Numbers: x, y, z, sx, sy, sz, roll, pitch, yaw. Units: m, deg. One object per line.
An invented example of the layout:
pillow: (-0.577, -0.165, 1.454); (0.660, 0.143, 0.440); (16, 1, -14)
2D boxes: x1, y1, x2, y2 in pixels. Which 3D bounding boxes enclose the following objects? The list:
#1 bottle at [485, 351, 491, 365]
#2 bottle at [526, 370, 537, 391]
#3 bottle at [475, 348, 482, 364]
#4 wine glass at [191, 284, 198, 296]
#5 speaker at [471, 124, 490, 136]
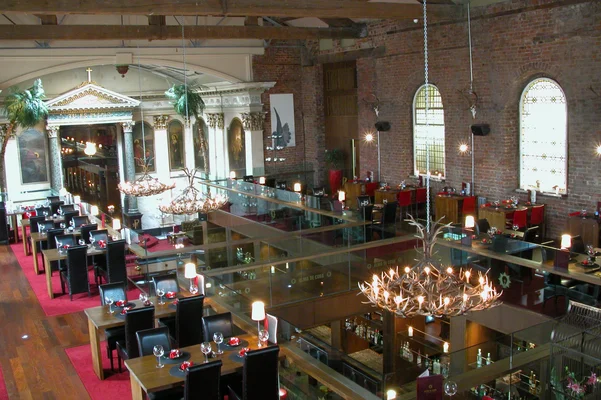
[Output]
bottle: (3.112, 2.605, 7.965); (0.100, 0.225, 0.038); (-7, 9, -29)
bottle: (3.847, 2.987, 7.983); (0.194, 0.326, 0.043); (-8, 9, -32)
bottle: (2.931, 2.572, 7.893); (0.110, 0.329, 0.048); (-4, 8, -8)
wine glass: (-2.303, 1.934, 10.408); (0.152, 0.194, 0.137); (-5, 8, -13)
speaker: (5.733, -2.213, 15.321); (0.390, 0.377, 0.521); (-3, 4, -39)
